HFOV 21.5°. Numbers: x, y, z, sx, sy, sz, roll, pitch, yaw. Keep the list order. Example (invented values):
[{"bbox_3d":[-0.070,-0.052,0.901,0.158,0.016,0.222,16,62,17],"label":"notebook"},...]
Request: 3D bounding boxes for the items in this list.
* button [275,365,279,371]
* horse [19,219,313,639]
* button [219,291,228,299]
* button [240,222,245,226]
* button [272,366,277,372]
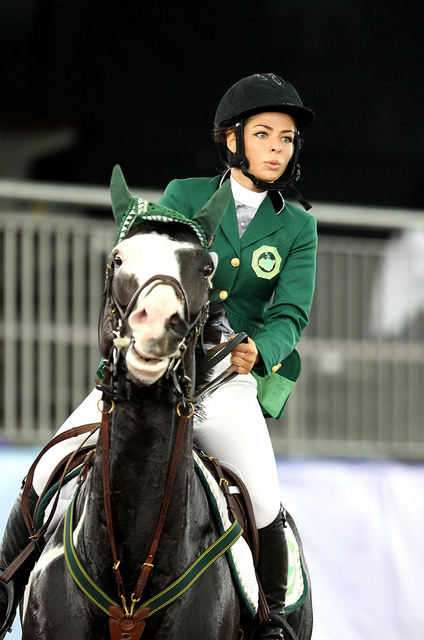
[{"bbox_3d":[0.248,0.178,4.279,0.009,0.029,0.009,-4,7,-12],"label":"button"},{"bbox_3d":[-0.277,0.378,3.786,0.640,1.424,0.596,3,5,24],"label":"horse"},{"bbox_3d":[0.044,-0.095,4.195,0.034,0.031,0.007,-2,-11,15],"label":"button"},{"bbox_3d":[0.123,-0.385,4.501,0.017,0.014,0.004,1,-6,-3],"label":"button"},{"bbox_3d":[0.237,0.182,4.251,0.024,0.021,0.006,1,-8,-23],"label":"button"}]
